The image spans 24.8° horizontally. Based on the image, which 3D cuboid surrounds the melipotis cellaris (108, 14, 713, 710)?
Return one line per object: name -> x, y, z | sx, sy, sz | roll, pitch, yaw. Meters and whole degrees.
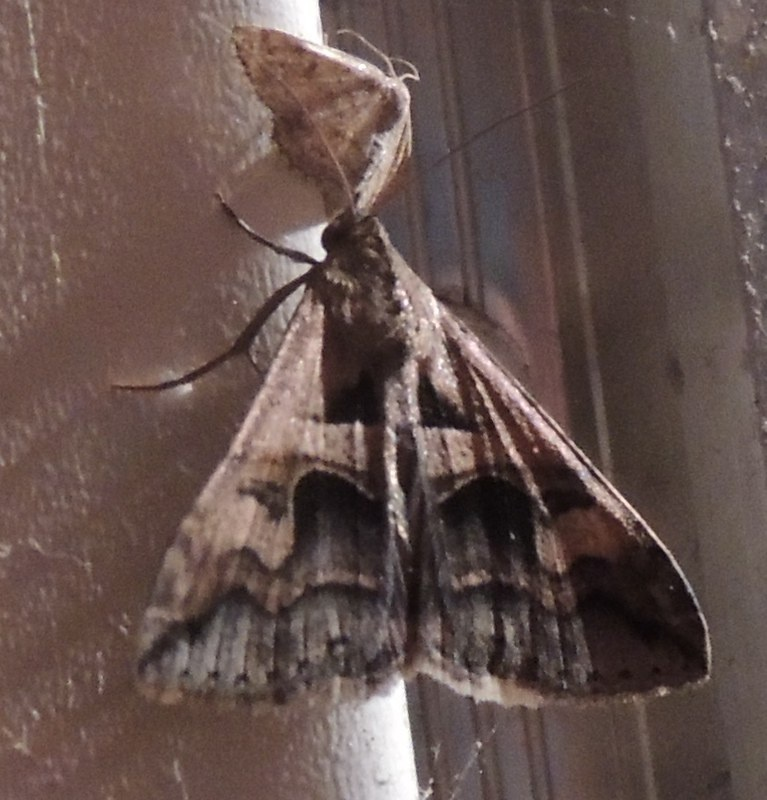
melipotis cellaris -> 0.018, 0.048, 1.645 | 0.381, 0.753, 0.166 | -1, -17, -21
